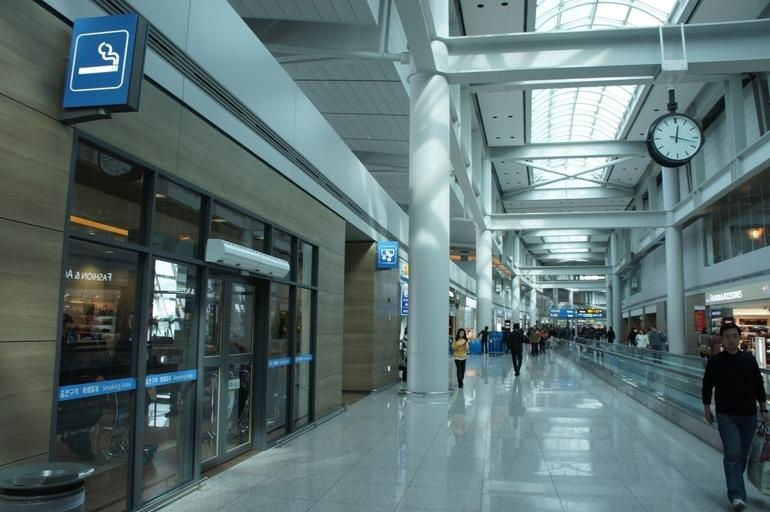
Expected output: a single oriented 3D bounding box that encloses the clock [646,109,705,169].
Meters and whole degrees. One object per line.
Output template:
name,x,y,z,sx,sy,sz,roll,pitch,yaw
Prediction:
clock,6.315,-2.559,12.337,1.069,1.211,0.359,-1,-4,20
